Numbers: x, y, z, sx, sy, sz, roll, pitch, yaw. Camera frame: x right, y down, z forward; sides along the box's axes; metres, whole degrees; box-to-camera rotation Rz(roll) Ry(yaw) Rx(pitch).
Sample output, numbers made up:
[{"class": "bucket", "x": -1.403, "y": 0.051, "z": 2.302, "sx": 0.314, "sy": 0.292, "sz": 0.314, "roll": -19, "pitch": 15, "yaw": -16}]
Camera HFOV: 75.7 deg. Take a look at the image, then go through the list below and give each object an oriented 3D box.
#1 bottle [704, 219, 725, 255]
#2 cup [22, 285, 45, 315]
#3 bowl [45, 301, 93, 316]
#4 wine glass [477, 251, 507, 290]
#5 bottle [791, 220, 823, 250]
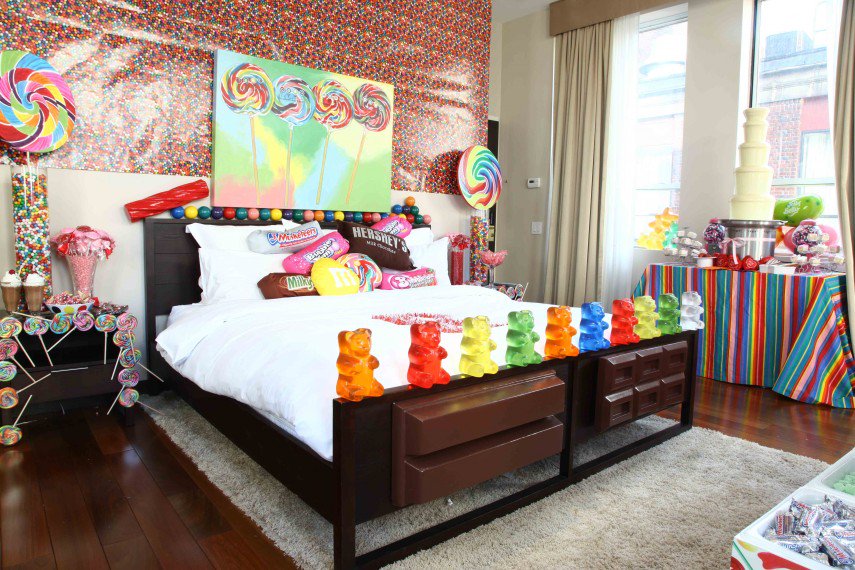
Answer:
[{"class": "bottle", "x": 2.416, "y": -0.411, "z": 4.625, "sx": 0.070, "sy": 0.262, "sz": 0.160, "roll": 7, "pitch": 5, "yaw": -37}, {"class": "cup", "x": -2.420, "y": 0.074, "z": 3.376, "sx": 0.101, "sy": 0.182, "sz": 0.178, "roll": -8, "pitch": 11, "yaw": -36}, {"class": "bowl", "x": -2.187, "y": 0.132, "z": 3.398, "sx": 0.154, "sy": 0.055, "sz": 0.151, "roll": -1, "pitch": 1, "yaw": 0}, {"class": "wine glass", "x": 0.653, "y": -0.168, "z": 5.404, "sx": 0.318, "sy": 0.357, "sz": 0.320, "roll": 0, "pitch": 1, "yaw": -28}, {"class": "bottle", "x": 2.879, "y": -0.394, "z": 4.199, "sx": 0.174, "sy": 0.227, "sz": 0.136, "roll": -24, "pitch": 16, "yaw": -14}]
